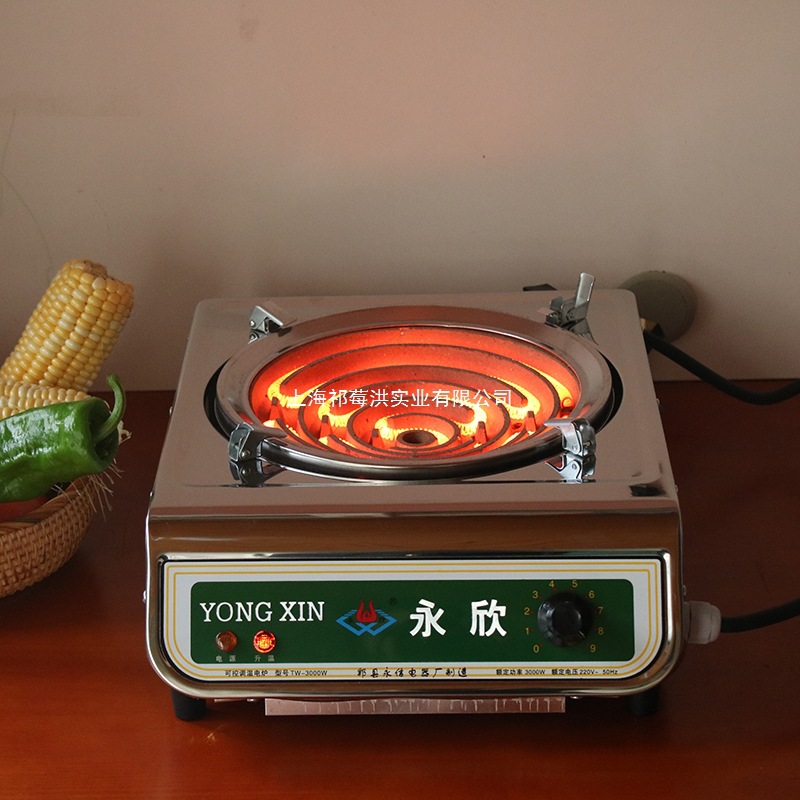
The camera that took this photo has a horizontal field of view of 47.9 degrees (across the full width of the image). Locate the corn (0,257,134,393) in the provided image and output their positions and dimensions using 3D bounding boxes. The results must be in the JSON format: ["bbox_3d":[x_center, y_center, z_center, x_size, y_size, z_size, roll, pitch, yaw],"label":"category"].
[{"bbox_3d":[-0.468,-0.097,1.332,0.116,0.263,0.110,53,23,25],"label":"corn"}]

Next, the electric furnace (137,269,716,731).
[{"bbox_3d":[0.017,0.085,1.061,0.606,0.376,0.527,-1,21,2],"label":"electric furnace"}]
